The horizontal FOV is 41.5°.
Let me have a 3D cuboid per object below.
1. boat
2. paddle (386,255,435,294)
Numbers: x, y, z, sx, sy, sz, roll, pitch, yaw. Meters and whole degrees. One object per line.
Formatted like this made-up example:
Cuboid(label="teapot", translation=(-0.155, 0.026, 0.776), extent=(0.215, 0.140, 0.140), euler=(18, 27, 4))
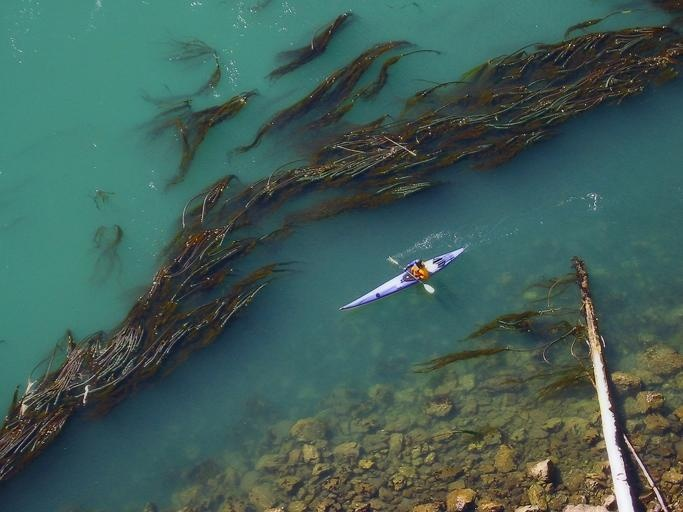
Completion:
Cuboid(label="boat", translation=(1.577, 0.514, 21.785), extent=(2.728, 1.233, 0.471), euler=(-25, -5, 2))
Cuboid(label="paddle", translation=(1.671, 0.333, 22.191), extent=(1.887, 0.328, 0.394), euler=(33, 91, 38))
